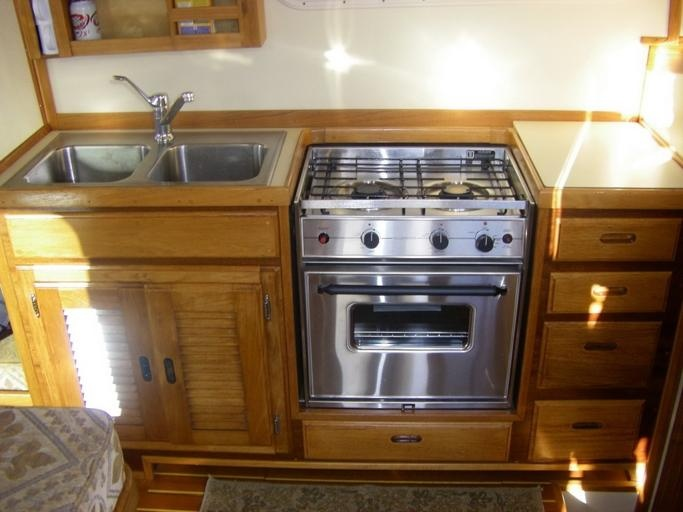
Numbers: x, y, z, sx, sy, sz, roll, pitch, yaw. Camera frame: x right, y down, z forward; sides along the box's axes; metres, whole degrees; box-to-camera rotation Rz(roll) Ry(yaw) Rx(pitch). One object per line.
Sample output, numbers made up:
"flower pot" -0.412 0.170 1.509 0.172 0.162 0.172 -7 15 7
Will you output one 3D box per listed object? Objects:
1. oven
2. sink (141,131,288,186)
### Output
"oven" 0.263 0.295 2.255 0.812 0.444 0.392 0 5 0
"sink" -0.497 -0.459 2.216 0.480 0.274 0.280 1 -45 2
